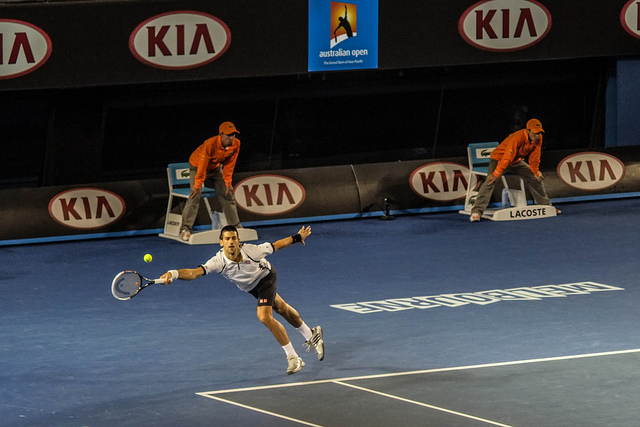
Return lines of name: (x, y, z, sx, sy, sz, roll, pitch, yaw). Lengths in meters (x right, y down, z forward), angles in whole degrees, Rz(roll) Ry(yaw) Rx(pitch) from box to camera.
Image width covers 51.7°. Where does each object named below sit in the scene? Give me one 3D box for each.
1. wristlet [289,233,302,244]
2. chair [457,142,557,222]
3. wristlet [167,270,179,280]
wristlet: (-0.328, 0.345, 8.760, 0.200, 0.064, 0.142, -9, 14, 12)
chair: (4.881, -0.864, 17.556, 2.040, 1.645, 2.154, -9, 16, -31)
wristlet: (-1.813, 0.756, 8.156, 0.104, 0.111, 0.128, -3, 20, -19)
